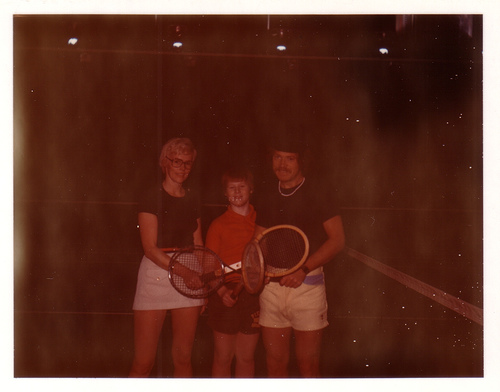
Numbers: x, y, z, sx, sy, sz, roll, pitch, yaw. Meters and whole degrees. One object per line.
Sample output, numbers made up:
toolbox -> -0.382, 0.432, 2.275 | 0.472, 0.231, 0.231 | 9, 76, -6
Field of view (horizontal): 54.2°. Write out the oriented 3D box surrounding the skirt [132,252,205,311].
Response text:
skirt -> -0.451, 0.462, 2.741 | 0.292, 0.322, 0.292 | -1, 6, -37

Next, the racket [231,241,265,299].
racket -> 0.008, 0.418, 2.653 | 0.090, 0.336, 0.255 | -6, 11, -43

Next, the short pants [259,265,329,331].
short pants -> 0.266, 0.455, 2.860 | 0.462, 0.504, 0.294 | 0, -1, 16

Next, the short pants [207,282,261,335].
short pants -> -0.090, 0.629, 2.851 | 0.268, 0.300, 0.303 | 0, 8, -22
